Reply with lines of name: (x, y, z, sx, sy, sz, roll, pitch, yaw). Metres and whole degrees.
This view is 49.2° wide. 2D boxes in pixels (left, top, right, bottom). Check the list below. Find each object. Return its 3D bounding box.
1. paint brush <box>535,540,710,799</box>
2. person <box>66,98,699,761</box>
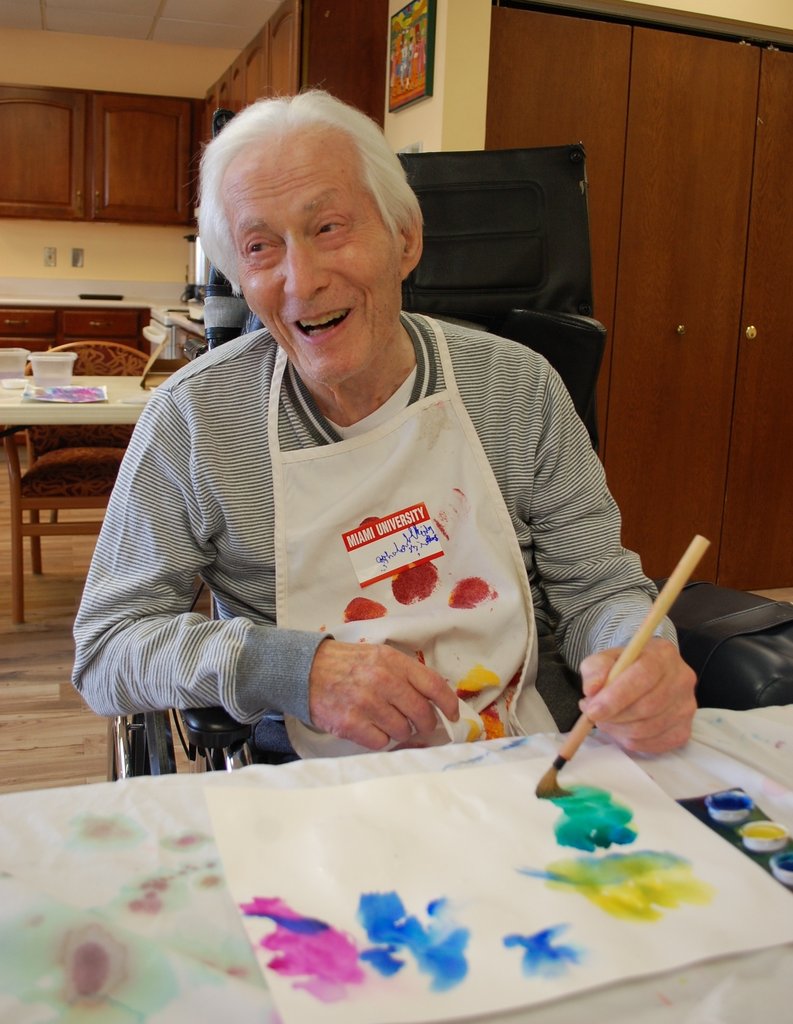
paint brush: (0.220, 0.157, 0.867, 0.047, 0.311, 0.025, 44, 19, 22)
person: (0.034, -0.082, 0.974, 0.666, 0.737, 0.510, 9, 14, 21)
